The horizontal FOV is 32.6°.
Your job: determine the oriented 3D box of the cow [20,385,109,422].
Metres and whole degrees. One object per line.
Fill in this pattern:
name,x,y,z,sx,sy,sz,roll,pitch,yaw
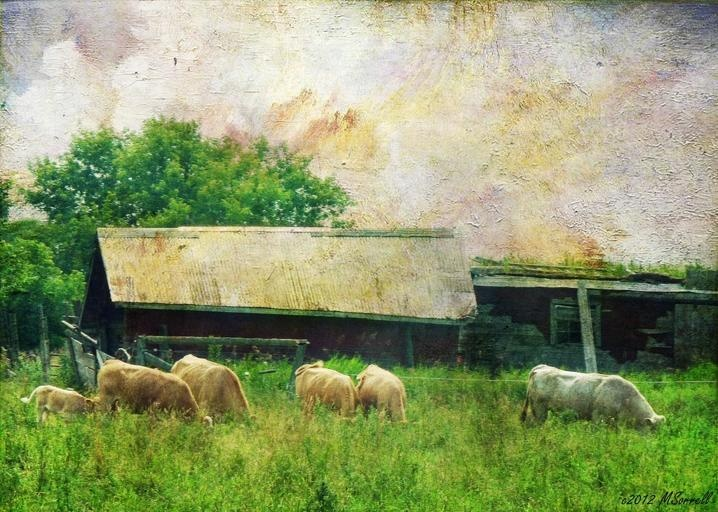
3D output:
cow,-6.297,3.125,25.789,1.601,0.800,0.423,9,4,10

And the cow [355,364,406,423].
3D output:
cow,0.475,2.976,26.632,0.729,1.067,1.603,-6,7,-28

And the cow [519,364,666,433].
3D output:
cow,4.995,3.221,26.183,3.095,1.539,1.023,7,3,25

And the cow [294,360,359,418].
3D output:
cow,-0.740,2.828,26.296,1.495,1.043,0.669,-4,-7,45

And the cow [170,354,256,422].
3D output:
cow,-3.271,2.982,26.305,2.287,1.149,0.836,2,3,34
